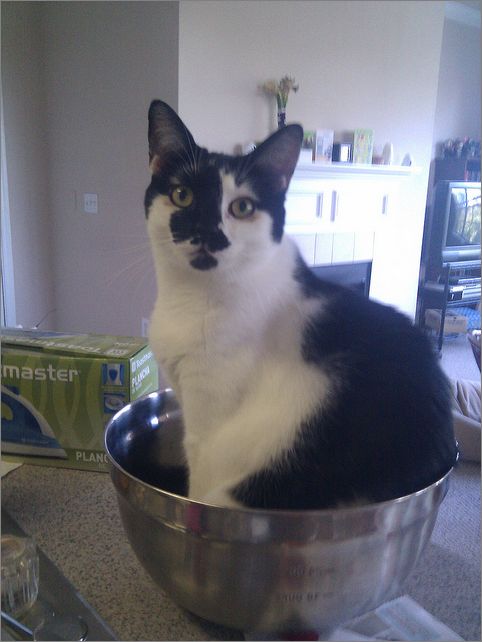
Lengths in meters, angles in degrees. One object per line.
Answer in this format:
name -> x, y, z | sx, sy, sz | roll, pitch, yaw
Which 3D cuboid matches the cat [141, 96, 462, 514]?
cat -> 0.023, 0.011, 0.410 | 0.152, 0.362, 0.170 | 0, -1, -10
